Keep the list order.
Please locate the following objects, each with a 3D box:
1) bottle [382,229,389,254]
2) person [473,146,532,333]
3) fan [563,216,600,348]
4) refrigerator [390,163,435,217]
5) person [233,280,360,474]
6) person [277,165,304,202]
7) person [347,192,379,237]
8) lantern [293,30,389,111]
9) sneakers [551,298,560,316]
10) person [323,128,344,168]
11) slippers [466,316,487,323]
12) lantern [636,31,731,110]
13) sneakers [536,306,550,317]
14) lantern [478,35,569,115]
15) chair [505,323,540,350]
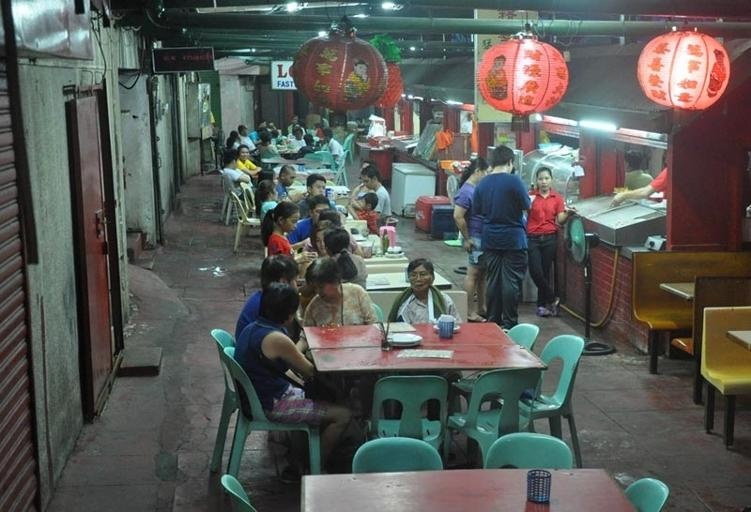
[{"bbox_3d":[0.139,-0.195,9.073,0.101,0.288,0.241,0,13,-2],"label":"bottle"},{"bbox_3d":[1.615,-0.060,8.785,0.673,2.005,0.435,4,14,16],"label":"person"},{"bbox_3d":[2.726,0.315,8.837,0.494,1.586,1.489,4,13,14],"label":"fan"},{"bbox_3d":[0.907,-1.643,17.123,0.780,1.217,1.210,-7,15,-27],"label":"refrigerator"},{"bbox_3d":[-0.707,0.943,5.461,0.953,1.420,0.326,6,15,23],"label":"person"},{"bbox_3d":[-1.551,-1.237,12.137,0.533,0.616,0.866,5,-1,-8],"label":"person"},{"bbox_3d":[-0.136,-0.625,10.889,0.369,0.330,1.127,-4,-27,4],"label":"person"},{"bbox_3d":[-0.355,-1.817,6.754,1.017,0.665,0.779,3,7,4],"label":"lantern"},{"bbox_3d":[2.616,0.743,9.769,0.130,0.303,0.110,3,1,6],"label":"sneakers"},{"bbox_3d":[-1.414,-3.308,20.848,0.787,1.161,0.808,-11,17,-22],"label":"person"},{"bbox_3d":[1.360,0.845,9.080,0.182,0.043,0.183,-1,2,-15],"label":"slippers"},{"bbox_3d":[3.127,-1.860,6.947,0.744,0.738,0.847,4,11,11],"label":"lantern"},{"bbox_3d":[2.420,0.792,9.719,0.183,0.121,0.103,-5,15,9],"label":"sneakers"},{"bbox_3d":[1.525,-1.897,7.489,0.894,0.870,0.849,2,1,-28],"label":"lantern"},{"bbox_3d":[1.397,0.728,6.242,0.228,0.313,0.249,6,-1,45],"label":"chair"}]
